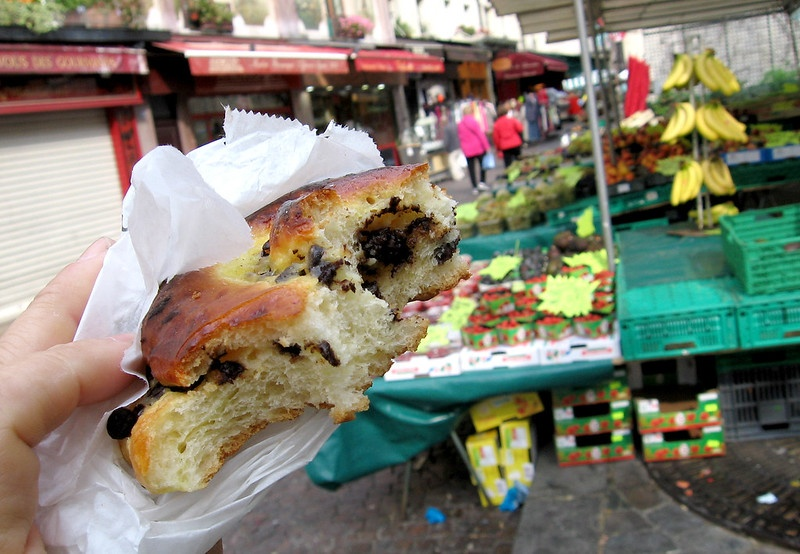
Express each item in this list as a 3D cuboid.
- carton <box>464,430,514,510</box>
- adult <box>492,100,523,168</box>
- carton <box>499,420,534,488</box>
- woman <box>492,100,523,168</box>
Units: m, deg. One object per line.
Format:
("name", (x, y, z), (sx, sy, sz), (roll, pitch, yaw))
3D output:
("carton", (0.723, 1.552, 5.374), (0.357, 0.605, 0.159), (-5, 4, 10))
("adult", (2.208, -2.760, 13.210), (0.584, 1.489, 0.448), (-10, 21, 8))
("carton", (0.955, 1.427, 5.354), (0.270, 0.539, 0.230), (-4, 11, 21))
("woman", (2.199, -2.782, 13.231), (0.577, 1.483, 0.472), (-13, 25, 1))
